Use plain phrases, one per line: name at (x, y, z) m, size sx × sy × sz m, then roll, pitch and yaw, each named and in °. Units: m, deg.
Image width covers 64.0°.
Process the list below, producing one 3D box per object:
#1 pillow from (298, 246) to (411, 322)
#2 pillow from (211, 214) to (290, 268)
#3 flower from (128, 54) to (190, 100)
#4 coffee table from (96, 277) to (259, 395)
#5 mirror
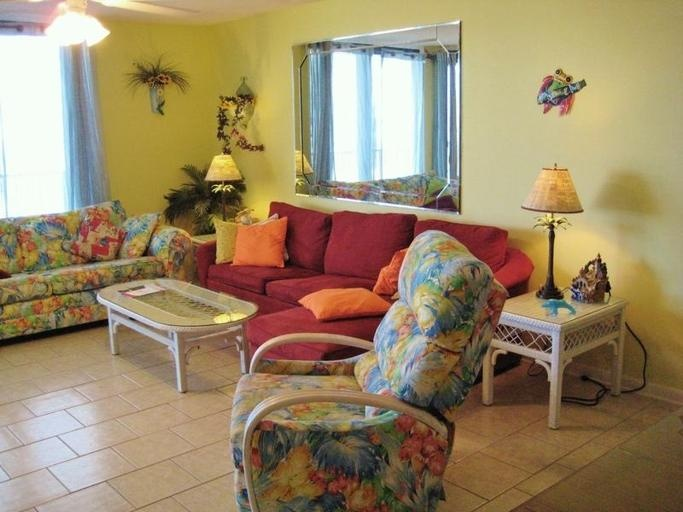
pillow at (0.138, 0.160, 3.842) m, size 0.658 × 0.242 × 0.514 m, roll -4°, pitch 7°, yaw -22°
pillow at (-0.862, -0.128, 5.063) m, size 0.560 × 0.529 × 0.164 m, roll -1°, pitch -15°, yaw 24°
flower at (-2.115, -2.083, 6.351) m, size 0.453 × 0.173 × 0.443 m, roll -2°, pitch -2°, yaw 21°
coffee table at (-1.149, 0.737, 4.108) m, size 0.714 × 0.439 × 1.487 m, roll -18°, pitch 21°, yaw -42°
mirror at (0.349, -1.271, 4.907) m, size 2.110 × 1.441 × 0.028 m, roll 8°, pitch 12°, yaw 43°
